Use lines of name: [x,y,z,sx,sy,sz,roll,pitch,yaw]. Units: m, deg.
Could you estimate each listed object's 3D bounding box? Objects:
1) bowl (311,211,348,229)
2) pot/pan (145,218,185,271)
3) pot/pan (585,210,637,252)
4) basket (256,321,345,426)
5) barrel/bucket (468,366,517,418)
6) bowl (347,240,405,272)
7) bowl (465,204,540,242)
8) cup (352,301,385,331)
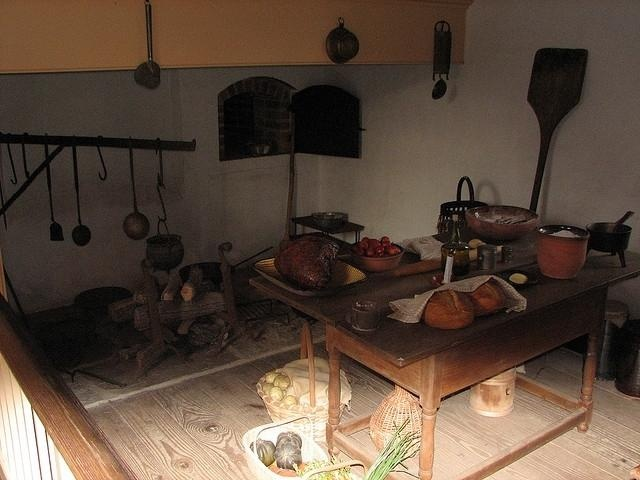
bowl: [0.117,-0.210,5.108,0.394,0.141,0.249,-2,15,-7]
pot/pan: [-1.514,0.166,4.493,0.315,0.563,1.029,-5,16,-19]
pot/pan: [1.874,-0.054,2.959,0.391,0.238,0.217,-15,21,-40]
basket: [-0.103,0.905,2.941,0.535,0.705,0.550,-4,20,-29]
barrel/bucket: [1.156,1.025,3.257,0.328,0.349,0.361,11,17,14]
bowl: [0.357,0.060,2.815,0.299,0.184,0.332,-7,17,-40]
bowl: [1.300,-0.111,3.248,0.353,0.123,0.352,0,21,0]
cup: [0.223,0.351,2.176,0.096,0.093,0.153,16,24,41]
